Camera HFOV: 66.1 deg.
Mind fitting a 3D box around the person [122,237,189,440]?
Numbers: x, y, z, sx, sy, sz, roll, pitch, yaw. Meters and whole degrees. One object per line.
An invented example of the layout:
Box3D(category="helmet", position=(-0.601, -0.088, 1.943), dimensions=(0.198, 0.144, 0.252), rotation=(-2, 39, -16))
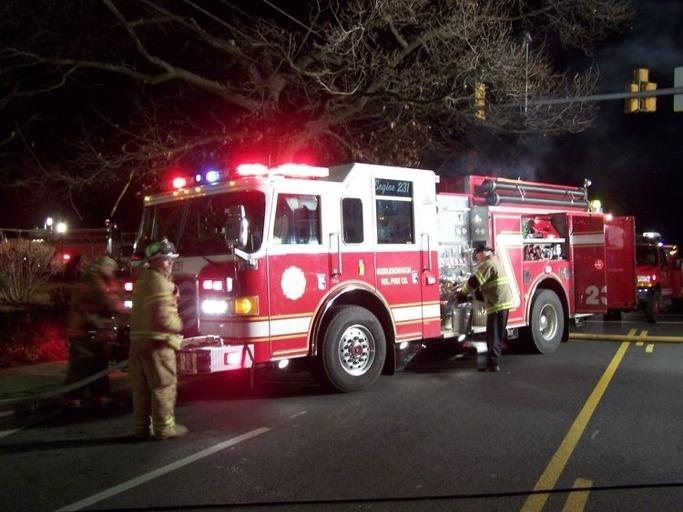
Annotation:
Box3D(category="person", position=(-2.105, 0.948, 6.003), dimensions=(0.625, 2.004, 0.357), rotation=(0, 0, -10))

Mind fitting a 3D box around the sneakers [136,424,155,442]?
Box3D(category="sneakers", position=(-2.227, 2.012, 5.962), dimensions=(0.125, 0.162, 0.225), rotation=(-1, -19, 2))

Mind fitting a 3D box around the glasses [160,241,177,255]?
Box3D(category="glasses", position=(-2.108, -0.097, 6.413), dimensions=(0.207, 0.192, 0.123), rotation=(9, -23, -32))

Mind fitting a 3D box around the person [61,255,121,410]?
Box3D(category="person", position=(-3.371, 1.035, 7.122), dimensions=(0.680, 1.978, 0.473), rotation=(-1, 0, -28))

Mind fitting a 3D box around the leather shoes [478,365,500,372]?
Box3D(category="leather shoes", position=(2.618, 1.995, 9.298), dimensions=(0.328, 0.172, 0.144), rotation=(2, -4, 2))
